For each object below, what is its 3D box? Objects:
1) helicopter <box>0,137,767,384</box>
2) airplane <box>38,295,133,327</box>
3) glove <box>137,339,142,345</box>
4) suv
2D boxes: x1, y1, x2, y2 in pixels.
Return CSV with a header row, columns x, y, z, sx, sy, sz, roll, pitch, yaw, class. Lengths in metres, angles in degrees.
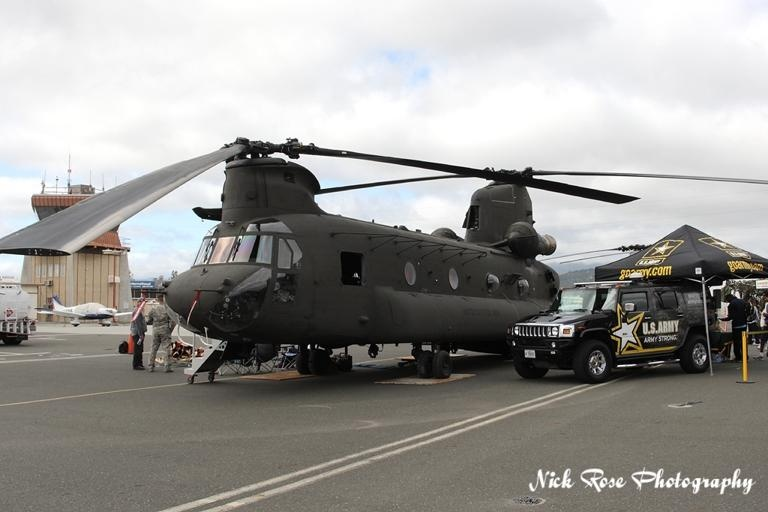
x,y,z,sx,sy,sz,roll,pitch,yaw,class
0.498,1.107,16.054,10.841,2.795,10.118,7,-7,-42,helicopter
-31.052,5.802,58.648,6.759,1.806,7.522,-2,-2,15,airplane
-8.110,2.837,19.049,0.166,0.186,0.058,9,10,-38,glove
6.715,2.008,16.634,6.215,2.084,3.099,-1,-1,-26,suv
